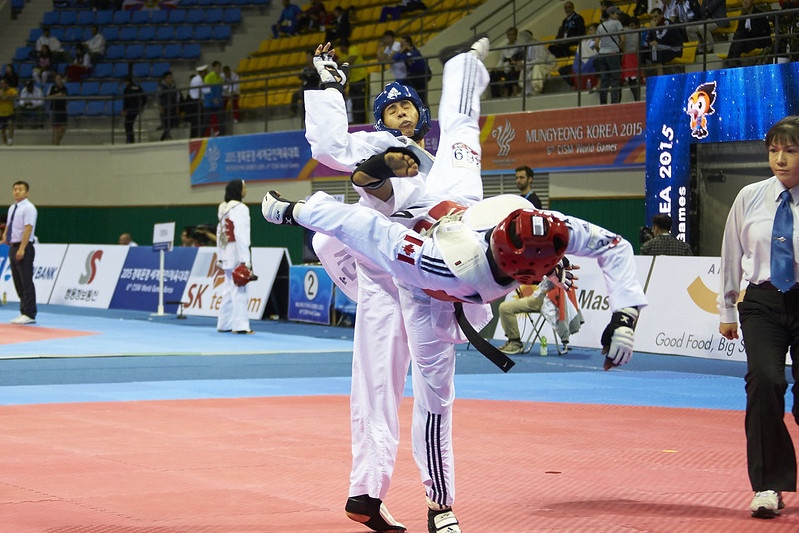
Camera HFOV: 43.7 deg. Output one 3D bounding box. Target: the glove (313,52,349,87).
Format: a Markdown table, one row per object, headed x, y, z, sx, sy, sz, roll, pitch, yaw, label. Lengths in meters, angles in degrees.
| x | y | z | sx | sy | sz | roll | pitch | yaw | label |
| --- | --- | --- | --- | --- | --- | --- | --- | --- | --- |
| -0.676 | -1.868 | 9.495 | 0.286 | 0.391 | 0.112 | 0 | -34 | -17 | glove |

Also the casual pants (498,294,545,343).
| x | y | z | sx | sy | sz | roll | pitch | yaw | label |
| --- | --- | --- | --- | --- | --- | --- | --- | --- | --- |
| 2.171 | 0.963 | 16.982 | 0.808 | 0.728 | 0.536 | 14 | -6 | 34 | casual pants |

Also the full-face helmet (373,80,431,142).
| x | y | z | sx | sy | sz | roll | pitch | yaw | label |
| --- | --- | --- | --- | --- | --- | --- | --- | --- | --- |
| 0.042 | -1.506 | 9.641 | 0.508 | 0.578 | 0.534 | -16 | 10 | -5 | full-face helmet |

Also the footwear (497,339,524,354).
| x | y | z | sx | sy | sz | roll | pitch | yaw | label |
| --- | --- | --- | --- | --- | --- | --- | --- | --- | --- |
| 1.919 | 1.398 | 17.180 | 0.632 | 0.276 | 0.381 | 4 | -4 | -41 | footwear |

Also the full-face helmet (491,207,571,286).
| x | y | z | sx | sy | sz | roll | pitch | yaw | label |
| --- | --- | --- | --- | --- | --- | --- | --- | --- | --- |
| 1.052 | -0.166 | 8.411 | 0.776 | 0.626 | 0.523 | 4 | -26 | -2 | full-face helmet |

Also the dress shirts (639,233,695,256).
| x | y | z | sx | sy | sz | roll | pitch | yaw | label |
| --- | --- | --- | --- | --- | --- | --- | --- | --- | --- |
| 4.651 | -0.356 | 17.257 | 0.789 | 0.408 | 0.421 | 2 | 6 | 27 | dress shirts |

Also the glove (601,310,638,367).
| x | y | z | sx | sy | sz | roll | pitch | yaw | label |
| --- | --- | --- | --- | --- | --- | --- | --- | --- | --- |
| 1.901 | 0.615 | 8.619 | 0.365 | 0.470 | 0.180 | 2 | 3 | -1 | glove |

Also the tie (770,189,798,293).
| x | y | z | sx | sy | sz | roll | pitch | yaw | label |
| --- | --- | --- | --- | --- | --- | --- | --- | --- | --- |
| 3.680 | -0.249 | 9.538 | 0.234 | 0.977 | 0.207 | 1 | 1 | 14 | tie |
